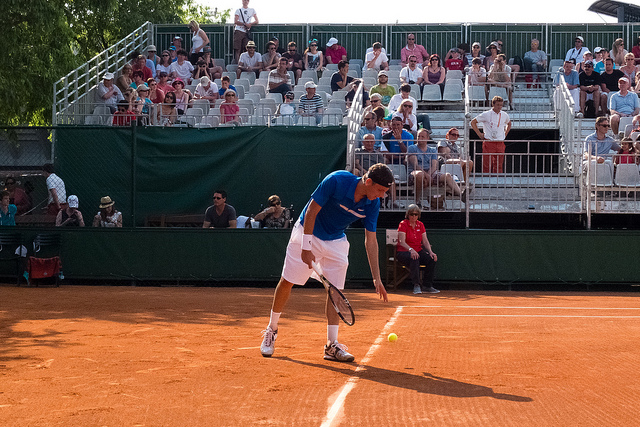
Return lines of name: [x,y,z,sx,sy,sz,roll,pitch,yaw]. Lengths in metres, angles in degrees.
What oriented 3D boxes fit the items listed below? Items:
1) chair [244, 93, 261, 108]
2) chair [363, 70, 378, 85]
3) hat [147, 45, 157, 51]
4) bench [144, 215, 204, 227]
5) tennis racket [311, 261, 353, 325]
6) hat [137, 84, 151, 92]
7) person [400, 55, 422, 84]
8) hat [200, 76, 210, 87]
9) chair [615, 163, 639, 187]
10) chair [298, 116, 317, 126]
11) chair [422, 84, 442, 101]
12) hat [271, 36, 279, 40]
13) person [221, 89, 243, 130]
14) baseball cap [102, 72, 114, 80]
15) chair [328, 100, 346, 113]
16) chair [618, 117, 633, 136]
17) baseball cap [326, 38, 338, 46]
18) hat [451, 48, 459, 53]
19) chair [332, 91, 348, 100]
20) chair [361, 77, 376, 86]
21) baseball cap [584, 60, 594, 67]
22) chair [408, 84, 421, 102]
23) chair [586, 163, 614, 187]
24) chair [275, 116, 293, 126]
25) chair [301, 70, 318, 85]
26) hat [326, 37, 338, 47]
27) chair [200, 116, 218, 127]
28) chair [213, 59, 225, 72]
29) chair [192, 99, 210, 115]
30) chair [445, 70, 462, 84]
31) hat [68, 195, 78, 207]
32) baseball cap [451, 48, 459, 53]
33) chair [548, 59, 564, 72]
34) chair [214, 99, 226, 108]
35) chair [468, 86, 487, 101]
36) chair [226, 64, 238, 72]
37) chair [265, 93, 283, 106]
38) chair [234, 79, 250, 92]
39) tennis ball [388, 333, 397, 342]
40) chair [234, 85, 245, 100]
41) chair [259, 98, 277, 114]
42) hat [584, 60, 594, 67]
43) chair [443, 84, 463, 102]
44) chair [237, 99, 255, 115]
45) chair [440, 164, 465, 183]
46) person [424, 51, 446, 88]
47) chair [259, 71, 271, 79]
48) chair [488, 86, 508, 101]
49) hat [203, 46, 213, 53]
chair: [-1.932,-3.228,27.651,0.314,0.448,0.355,0,-4,2]
chair: [1.527,-4.113,29.262,0.405,0.579,0.458,2,7,8]
hat: [-5.194,-5.146,30.086,0.212,0.121,0.294,-2,9,0]
bench: [-3.646,0.200,24.583,0.956,0.325,0.566,0,1,-7]
tennis racket: [0.247,1.434,17.508,0.128,0.486,1.595,-12,34,-8]
hat: [-4.816,-3.420,26.272,0.270,0.100,0.185,-5,-1,16]
person: [2.658,-4.126,27.995,0.661,0.949,0.547,0,1,1]
hat: [-3.259,-3.737,27.456,0.284,0.275,0.255,1,12,3]
chair: [7.522,-0.943,23.747,0.579,0.555,0.598,2,-1,10]
chair: [-0.335,-2.462,25.608,0.466,0.173,0.111,1,12,0]
chair: [3.201,-3.456,27.744,0.486,0.462,0.441,1,2,9]
hat: [-1.495,-5.806,32.137,0.208,0.102,0.291,0,1,-5]
person: [-2.320,-2.799,25.628,0.562,0.869,1.281,-1,12,-5]
baseball cap: [-5.849,-3.817,26.925,0.295,0.192,0.388,3,7,-1]
chair: [0.484,-2.951,26.516,0.404,0.432,0.385,2,5,0]
chair: [7.932,-2.302,25.173,0.345,0.353,0.453,3,12,10]
baseball cap: [0.480,-5.447,30.566,0.219,0.151,0.328,-14,8,39]
hat: [4.140,-4.988,29.678,0.199,0.127,0.233,-2,9,-1]
chair: [0.534,-3.345,27.222,0.259,0.365,0.301,3,10,9]
chair: [1.492,-3.939,28.754,0.293,0.346,0.335,0,8,0]
baseball cap: [7.623,-4.285,27.427,0.198,0.184,0.350,18,2,26]
chair: [2.768,-3.456,27.780,0.403,0.478,0.410,0,-4,13]
chair: [6.934,-0.861,24.009,0.595,0.629,0.535,0,-7,6]
chair: [-0.908,-2.470,25.700,0.401,0.319,0.250,9,-14,-10]
chair: [-0.290,-4.122,29.143,0.450,0.549,0.435,0,4,-6]
hat: [0.445,-5.471,30.580,0.242,0.139,0.349,-22,12,34]
chair: [-2.912,-2.459,25.720,0.364,0.384,0.333,0,-4,2]
chair: [-3.307,-4.922,31.844,0.405,0.616,0.604,-1,7,3]
chair: [-3.236,-2.998,26.759,0.463,0.664,0.527,0,-2,-1]
chair: [3.998,-4.103,28.784,0.341,0.496,0.380,2,-11,5]
hat: [-6.201,-0.286,24.541,0.253,0.277,0.202,-4,-3,38]
baseball cap: [4.159,-5.046,29.659,0.222,0.217,0.205,-7,10,-5]
chair: [7.598,-4.765,31.206,0.446,0.646,0.507,-1,2,-1]
chair: [-2.777,-3.110,27.104,0.225,0.326,0.333,4,5,10]
chair: [4.473,-3.439,27.527,0.470,0.496,0.394,3,9,20]
chair: [-2.816,-4.721,31.276,0.334,0.347,0.312,3,15,9]
chair: [-1.281,-3.216,27.208,0.292,0.408,0.338,4,19,7]
chair: [-2.318,-3.848,29.003,0.364,0.542,0.429,0,0,-2]
tennis ball: [1.383,2.392,18.379,0.137,0.142,0.145,-11,-45,-11]
chair: [-2.293,-3.560,28.314,0.368,0.573,0.439,0,0,-5]
chair: [-1.416,-2.973,26.854,0.449,0.645,0.495,0,-2,3]
hat: [7.636,-4.295,27.459,0.198,0.184,0.350,18,2,26]
chair: [3.800,-3.438,27.738,0.528,0.537,0.462,0,-7,0]
chair: [-2.007,-2.969,26.741,0.412,0.588,0.471,0,-3,1]
chair: [3.293,-1.005,24.213,0.435,0.389,0.460,2,6,12]
person: [3.315,-4.104,28.015,0.603,1.145,0.723,2,1,21]
chair: [-1.660,-4.168,29.098,0.298,0.316,0.273,1,-8,-1]
chair: [5.080,-3.407,27.596,0.544,0.556,0.434,0,-5,6]
hat: [-3.490,-5.080,29.846,0.259,0.158,0.344,-4,9,-44]
